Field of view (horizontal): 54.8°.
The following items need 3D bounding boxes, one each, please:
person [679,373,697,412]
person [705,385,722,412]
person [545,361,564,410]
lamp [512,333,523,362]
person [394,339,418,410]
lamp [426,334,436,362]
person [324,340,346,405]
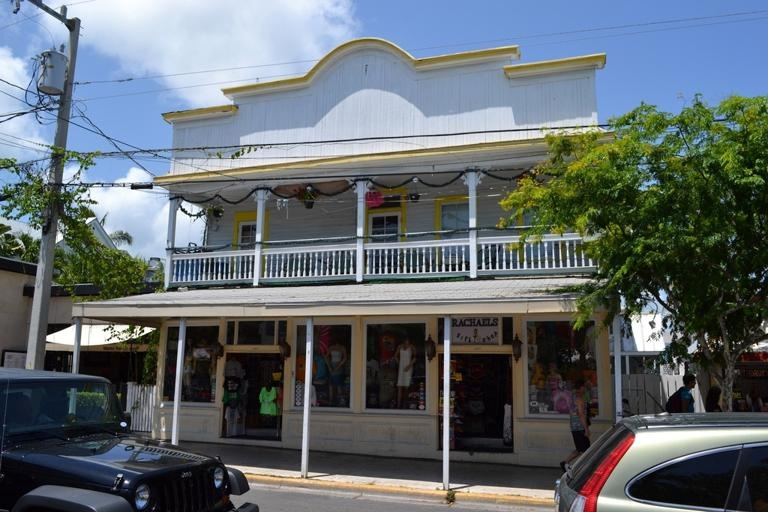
[{"bbox_3d":[6.650,2.963,16.126,0.289,0.855,1.303,-5,-14,21],"label":"person"},{"bbox_3d":[7.127,3.055,15.979,0.306,0.578,1.116,-5,-15,23],"label":"person"},{"bbox_3d":[4.167,3.181,17.873,0.371,1.207,0.146,-2,-13,11],"label":"person"},{"bbox_3d":[3.277,2.242,18.138,0.221,0.669,0.211,11,-17,-38],"label":"lamp"},{"bbox_3d":[0.568,2.985,18.874,0.530,1.706,0.232,-2,-13,10],"label":"person"},{"bbox_3d":[1.187,2.285,18.583,0.280,0.615,0.394,-1,-13,7],"label":"lamp"},{"bbox_3d":[-1.209,3.117,19.345,0.549,1.601,0.170,-3,-14,13],"label":"person"}]
